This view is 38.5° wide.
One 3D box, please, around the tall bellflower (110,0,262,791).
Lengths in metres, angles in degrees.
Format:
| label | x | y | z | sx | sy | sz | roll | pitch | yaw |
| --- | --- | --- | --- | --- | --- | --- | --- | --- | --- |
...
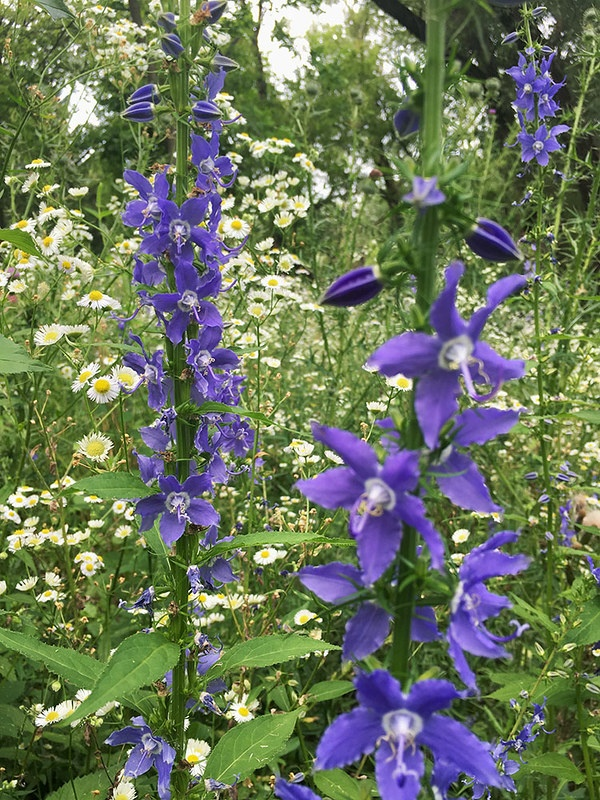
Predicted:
| label | x | y | z | sx | sy | sz | roll | pitch | yaw |
| --- | --- | --- | --- | --- | --- | --- | --- | --- | --- |
| tall bellflower | -0.324 | -0.009 | 2.240 | 0.395 | 1.884 | 0.445 | 5 | -2 | -5 |
